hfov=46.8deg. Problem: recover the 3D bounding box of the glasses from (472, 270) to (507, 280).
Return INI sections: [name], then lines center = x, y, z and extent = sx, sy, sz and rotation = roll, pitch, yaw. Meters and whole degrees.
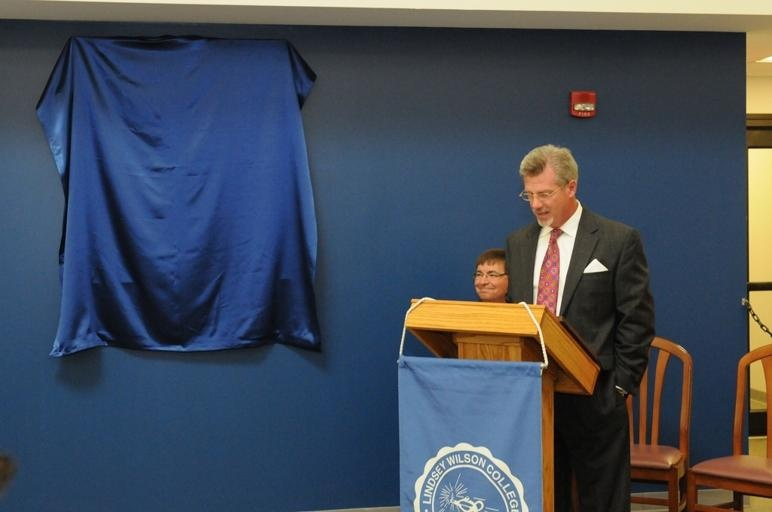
[glasses]
center = 0.667, 0.124, 5.735
extent = 0.214, 0.038, 0.070
rotation = -3, 0, 18
